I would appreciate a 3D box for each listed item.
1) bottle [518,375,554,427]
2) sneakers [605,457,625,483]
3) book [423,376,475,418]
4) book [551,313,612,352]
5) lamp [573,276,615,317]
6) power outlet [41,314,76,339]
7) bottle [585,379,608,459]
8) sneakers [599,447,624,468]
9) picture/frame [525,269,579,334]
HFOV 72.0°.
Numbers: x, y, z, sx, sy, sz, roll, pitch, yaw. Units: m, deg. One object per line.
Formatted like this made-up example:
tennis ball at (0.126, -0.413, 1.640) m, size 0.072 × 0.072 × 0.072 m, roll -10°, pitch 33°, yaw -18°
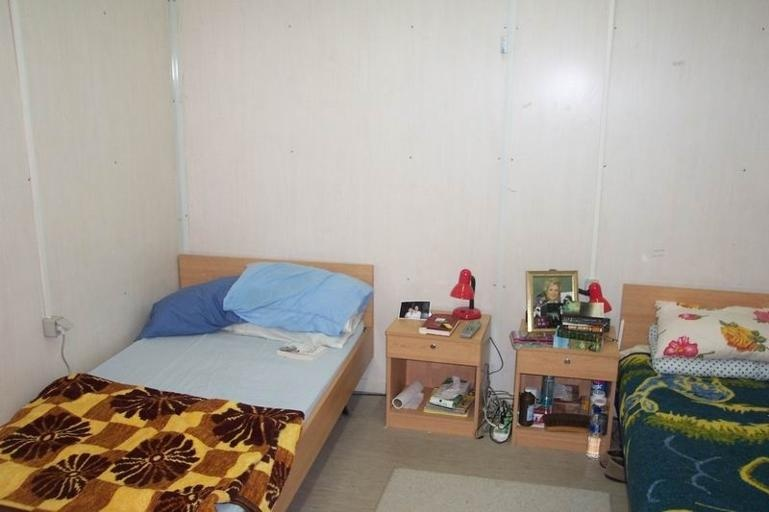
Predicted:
bottle at (1.021, 0.953, 3.556) m, size 0.205 × 0.329 × 0.241 m, roll 5°, pitch 6°, yaw 23°
sneakers at (1.409, 1.307, 3.240) m, size 0.115 × 0.072 × 0.157 m, roll 4°, pitch 5°, yaw 22°
book at (0.478, 0.969, 3.697) m, size 0.212 × 0.089 × 0.256 m, roll 2°, pitch 16°, yaw 13°
book at (1.258, 0.476, 3.385) m, size 0.324 × 0.215 × 0.216 m, roll 4°, pitch 6°, yaw 18°
lamp at (1.437, 0.252, 3.449) m, size 0.138 × 0.241 × 0.342 m, roll -23°, pitch 19°, yaw -38°
power outlet at (-1.948, 0.416, 3.160) m, size 0.138 × 0.100 × 0.132 m, roll 4°, pitch 8°, yaw -4°
bottle at (1.370, 1.035, 3.393) m, size 0.106 × 0.477 × 0.174 m, roll 5°, pitch 7°, yaw 23°
sneakers at (1.422, 1.259, 3.349) m, size 0.134 × 0.137 × 0.141 m, roll 4°, pitch 1°, yaw 10°
picture/frame at (1.102, 0.299, 3.465) m, size 0.419 × 0.471 × 0.035 m, roll -1°, pitch 0°, yaw 2°
